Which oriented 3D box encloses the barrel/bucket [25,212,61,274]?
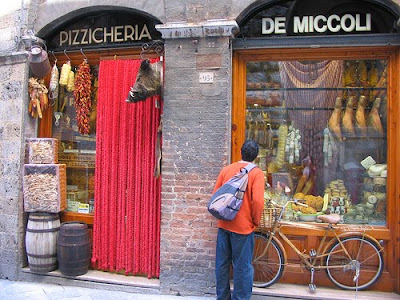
[{"bbox_3d":[-2.694,1.594,8.156,0.547,1.041,0.248,-1,-1,-20],"label":"barrel/bucket"}]

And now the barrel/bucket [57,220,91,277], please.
[{"bbox_3d":[-2.100,1.655,8.123,0.459,0.915,0.457,2,0,0],"label":"barrel/bucket"}]

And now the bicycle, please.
[{"bbox_3d":[1.716,1.643,7.591,2.039,1.572,0.767,1,-3,11],"label":"bicycle"}]

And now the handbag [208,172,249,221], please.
[{"bbox_3d":[0.410,0.690,6.926,0.591,0.721,0.182,-1,-1,0],"label":"handbag"}]

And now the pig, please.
[{"bbox_3d":[-0.915,-1.108,7.714,0.559,0.675,0.332,-1,-1,-9],"label":"pig"}]

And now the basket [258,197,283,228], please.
[{"bbox_3d":[1.163,0.988,7.771,0.377,0.490,0.379,3,1,14],"label":"basket"}]
